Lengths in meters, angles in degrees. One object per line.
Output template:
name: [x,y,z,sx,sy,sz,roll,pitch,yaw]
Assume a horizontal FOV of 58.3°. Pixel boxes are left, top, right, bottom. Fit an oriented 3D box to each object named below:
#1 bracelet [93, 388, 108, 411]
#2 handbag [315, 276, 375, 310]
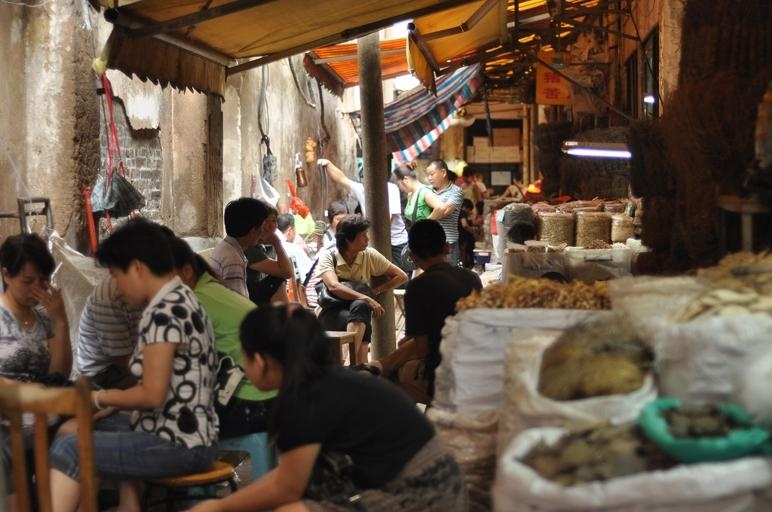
bracelet: [-1.416,0.704,3.425,0.044,0.129,0.114,-6,4,-6]
handbag: [-0.378,0.335,5.975,0.341,0.285,0.137,-6,-12,7]
